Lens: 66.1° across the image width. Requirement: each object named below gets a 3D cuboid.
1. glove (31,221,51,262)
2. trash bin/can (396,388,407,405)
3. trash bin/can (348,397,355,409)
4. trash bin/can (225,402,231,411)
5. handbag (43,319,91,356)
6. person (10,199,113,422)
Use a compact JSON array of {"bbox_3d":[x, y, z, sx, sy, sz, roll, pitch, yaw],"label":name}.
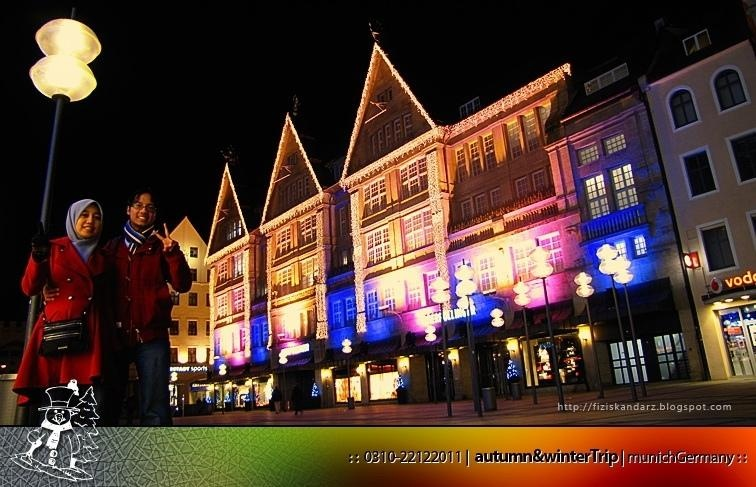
[{"bbox_3d":[-5.497,-0.027,9.570,0.257,0.667,0.368,6,-8,-25],"label":"glove"},{"bbox_3d":[1.572,9.615,36.454,0.978,1.019,0.823,3,-4,-4],"label":"trash bin/can"},{"bbox_3d":[-1.537,9.474,34.308,0.302,0.634,0.688,3,-7,-5],"label":"trash bin/can"},{"bbox_3d":[-14.006,15.495,54.847,0.431,0.739,0.778,11,-20,-35],"label":"trash bin/can"},{"bbox_3d":[-5.070,1.537,9.452,0.679,0.612,0.258,-7,-4,-1],"label":"handbag"},{"bbox_3d":[-5.101,1.094,9.635,1.396,3.738,0.722,5,-8,-19],"label":"person"}]
